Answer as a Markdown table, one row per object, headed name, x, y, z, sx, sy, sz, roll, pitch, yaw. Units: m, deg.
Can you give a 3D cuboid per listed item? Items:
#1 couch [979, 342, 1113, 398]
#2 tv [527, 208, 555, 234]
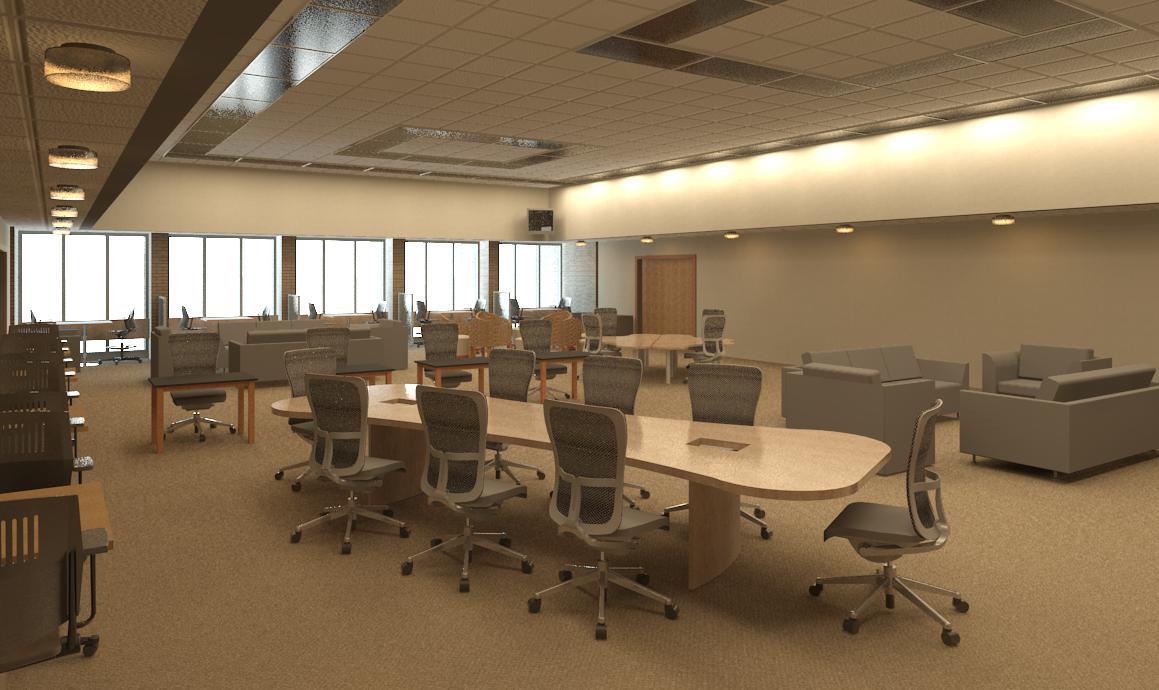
| name | x | y | z | sx | sy | sz | roll | pitch | yaw |
| --- | --- | --- | --- | --- | --- | --- | --- | --- | --- |
| couch | 7.161 | 0.336 | 11.651 | 1.198 | 0.990 | 1.616 | 0 | -1 | -24 |
| tv | -1.066 | -3.304 | 20.561 | 0.811 | 0.646 | 0.422 | 0 | -4 | -34 |
